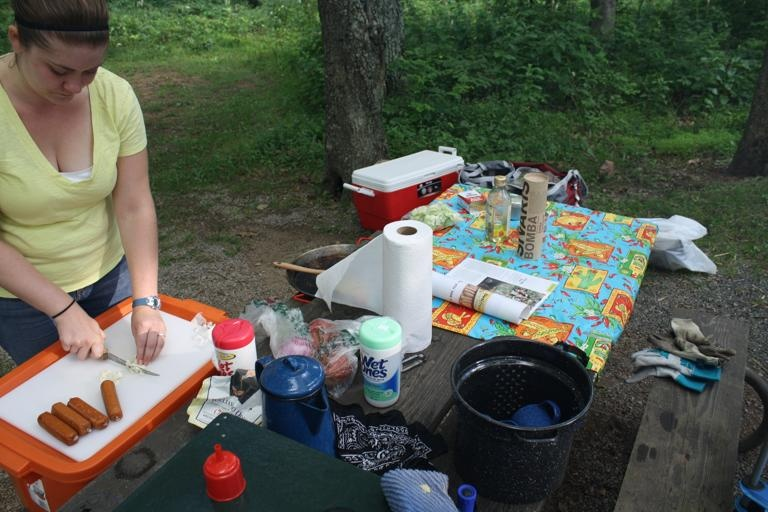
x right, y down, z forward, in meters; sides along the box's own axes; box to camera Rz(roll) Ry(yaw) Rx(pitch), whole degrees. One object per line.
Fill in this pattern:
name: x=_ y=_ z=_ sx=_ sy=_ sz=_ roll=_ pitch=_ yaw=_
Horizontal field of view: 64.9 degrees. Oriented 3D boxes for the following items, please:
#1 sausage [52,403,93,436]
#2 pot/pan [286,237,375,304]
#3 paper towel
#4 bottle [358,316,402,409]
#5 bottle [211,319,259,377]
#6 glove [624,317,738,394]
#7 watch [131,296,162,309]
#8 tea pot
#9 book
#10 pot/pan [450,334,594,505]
sausage: x=-1.391 y=0.732 z=2.695 sx=0.150 sy=0.044 sz=0.041 roll=35 pitch=35 yaw=13
pot/pan: x=-0.409 y=0.054 z=3.810 sx=0.379 sy=0.065 sz=0.442 roll=15 pitch=38 yaw=37
paper towel: x=-0.023 y=0.101 z=3.129 sx=0.652 sy=0.613 sz=0.291 roll=20 pitch=37 yaw=33
bottle: x=-0.006 y=0.504 z=2.849 sx=0.208 sy=0.359 sz=0.204 roll=-1 pitch=23 yaw=0
bottle: x=-0.665 y=0.398 z=2.862 sx=0.221 sy=0.268 sz=0.197 roll=15 pitch=25 yaw=34
glove: x=1.638 y=0.545 z=3.290 sx=0.409 sy=0.139 sz=0.405 roll=-37 pitch=49 yaw=-23
watch: x=-1.210 y=0.237 z=3.104 sx=0.106 sy=0.066 sz=0.109 roll=0 pitch=-5 yaw=0
tea pot: x=-0.387 y=0.576 z=2.665 sx=0.450 sy=0.398 sz=0.366 roll=-9 pitch=27 yaw=-32
book: x=0.620 y=0.152 z=3.444 sx=0.693 sy=0.131 sz=0.644 roll=-22 pitch=36 yaw=-36
pot/pan: x=0.563 y=0.700 z=2.800 sx=0.750 sy=0.739 sz=0.590 roll=9 pitch=27 yaw=8
